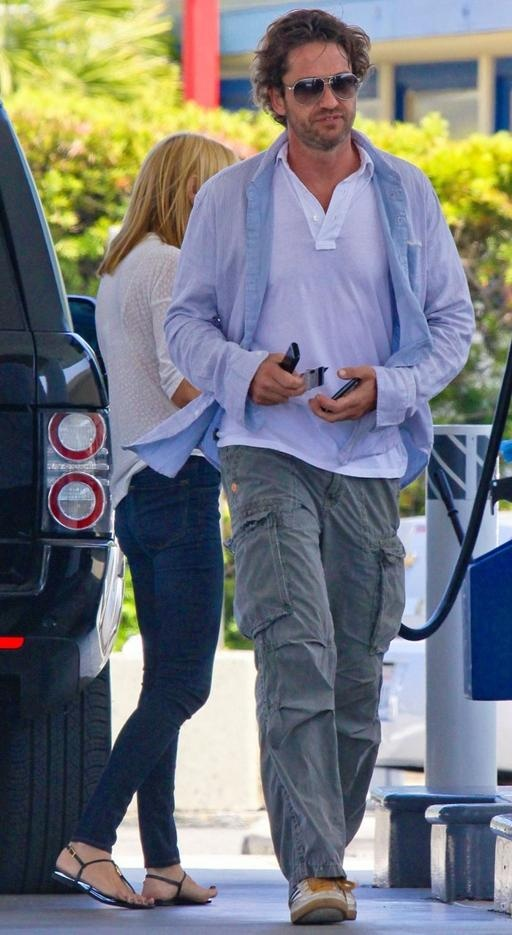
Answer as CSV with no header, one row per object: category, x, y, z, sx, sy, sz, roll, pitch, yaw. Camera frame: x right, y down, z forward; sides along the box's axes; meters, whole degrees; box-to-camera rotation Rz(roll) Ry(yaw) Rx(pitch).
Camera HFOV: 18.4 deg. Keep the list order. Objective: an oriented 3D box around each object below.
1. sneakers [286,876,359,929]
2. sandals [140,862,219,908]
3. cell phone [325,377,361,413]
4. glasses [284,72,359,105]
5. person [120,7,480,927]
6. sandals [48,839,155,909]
sneakers,0.133,0.872,3.163,0.134,0.120,0.121,2,11,1
sandals,-0.196,1.062,4.026,0.193,0.100,0.079,3,-2,-38
cell phone,0.194,-0.172,3.409,0.025,0.035,0.120,24,57,24
glasses,0.162,-0.848,3.540,0.174,0.073,0.134,0,11,-11
person,0.091,-0.064,3.466,0.694,1.866,0.915,4,10,11
sandals,-0.373,0.952,3.736,0.272,0.144,0.100,27,-6,-8
